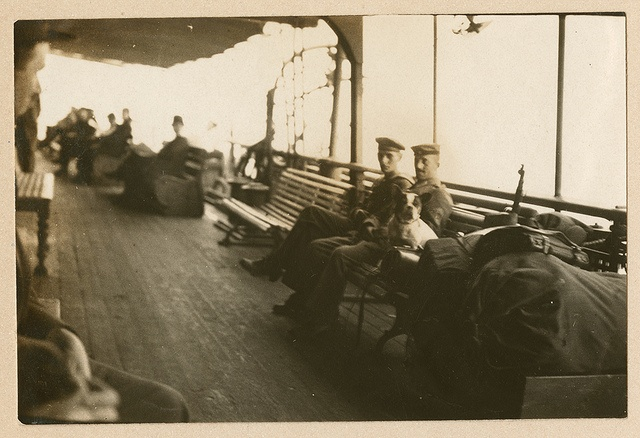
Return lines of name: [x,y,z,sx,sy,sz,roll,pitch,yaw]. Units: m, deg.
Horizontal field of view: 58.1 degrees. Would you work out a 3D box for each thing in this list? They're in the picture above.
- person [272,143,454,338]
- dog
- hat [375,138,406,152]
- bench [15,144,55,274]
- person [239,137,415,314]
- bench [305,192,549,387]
person: [0.175,0.028,3.930,0.542,1.337,1.064,28,-3,28]
dog: [0.549,-0.029,3.762,0.230,0.318,0.320,6,33,-4]
hat: [0.442,-0.468,3.660,0.117,0.045,0.107,10,-5,-24]
bench: [-1.805,-0.088,3.659,0.219,0.547,0.581,4,38,-26]
person: [0.078,0.052,3.656,0.347,0.608,0.885,30,3,-29]
bench: [0.659,0.485,3.258,0.612,1.106,1.604,-15,3,-4]
